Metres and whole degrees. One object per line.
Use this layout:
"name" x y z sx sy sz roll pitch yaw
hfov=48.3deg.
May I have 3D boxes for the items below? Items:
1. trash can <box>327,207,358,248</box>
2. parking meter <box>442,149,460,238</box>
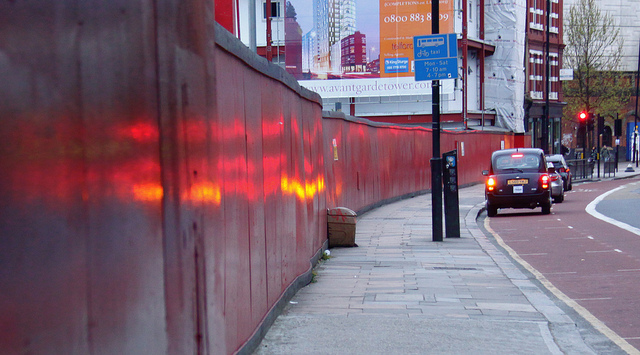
"trash can" 0.419 1.045 14.560 0.676 0.835 0.648 1 -5 -2
"parking meter" 2.892 0.371 15.692 0.502 1.903 0.456 0 1 8
